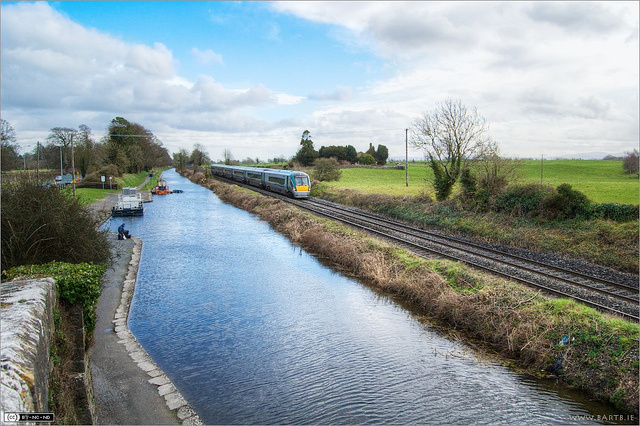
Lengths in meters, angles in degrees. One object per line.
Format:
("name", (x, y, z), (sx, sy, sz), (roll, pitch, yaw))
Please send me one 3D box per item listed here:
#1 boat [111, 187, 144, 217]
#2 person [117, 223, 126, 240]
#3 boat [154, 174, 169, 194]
("boat", (-16.096, -0.947, 36.061), (2.003, 2.163, 2.690), (7, 14, 25))
("person", (-12.515, 1.072, 27.121), (0.270, 0.870, 1.489), (-5, 14, -24))
("boat", (-20.397, -3.385, 55.746), (1.627, 2.068, 5.120), (-1, 2, -25))
